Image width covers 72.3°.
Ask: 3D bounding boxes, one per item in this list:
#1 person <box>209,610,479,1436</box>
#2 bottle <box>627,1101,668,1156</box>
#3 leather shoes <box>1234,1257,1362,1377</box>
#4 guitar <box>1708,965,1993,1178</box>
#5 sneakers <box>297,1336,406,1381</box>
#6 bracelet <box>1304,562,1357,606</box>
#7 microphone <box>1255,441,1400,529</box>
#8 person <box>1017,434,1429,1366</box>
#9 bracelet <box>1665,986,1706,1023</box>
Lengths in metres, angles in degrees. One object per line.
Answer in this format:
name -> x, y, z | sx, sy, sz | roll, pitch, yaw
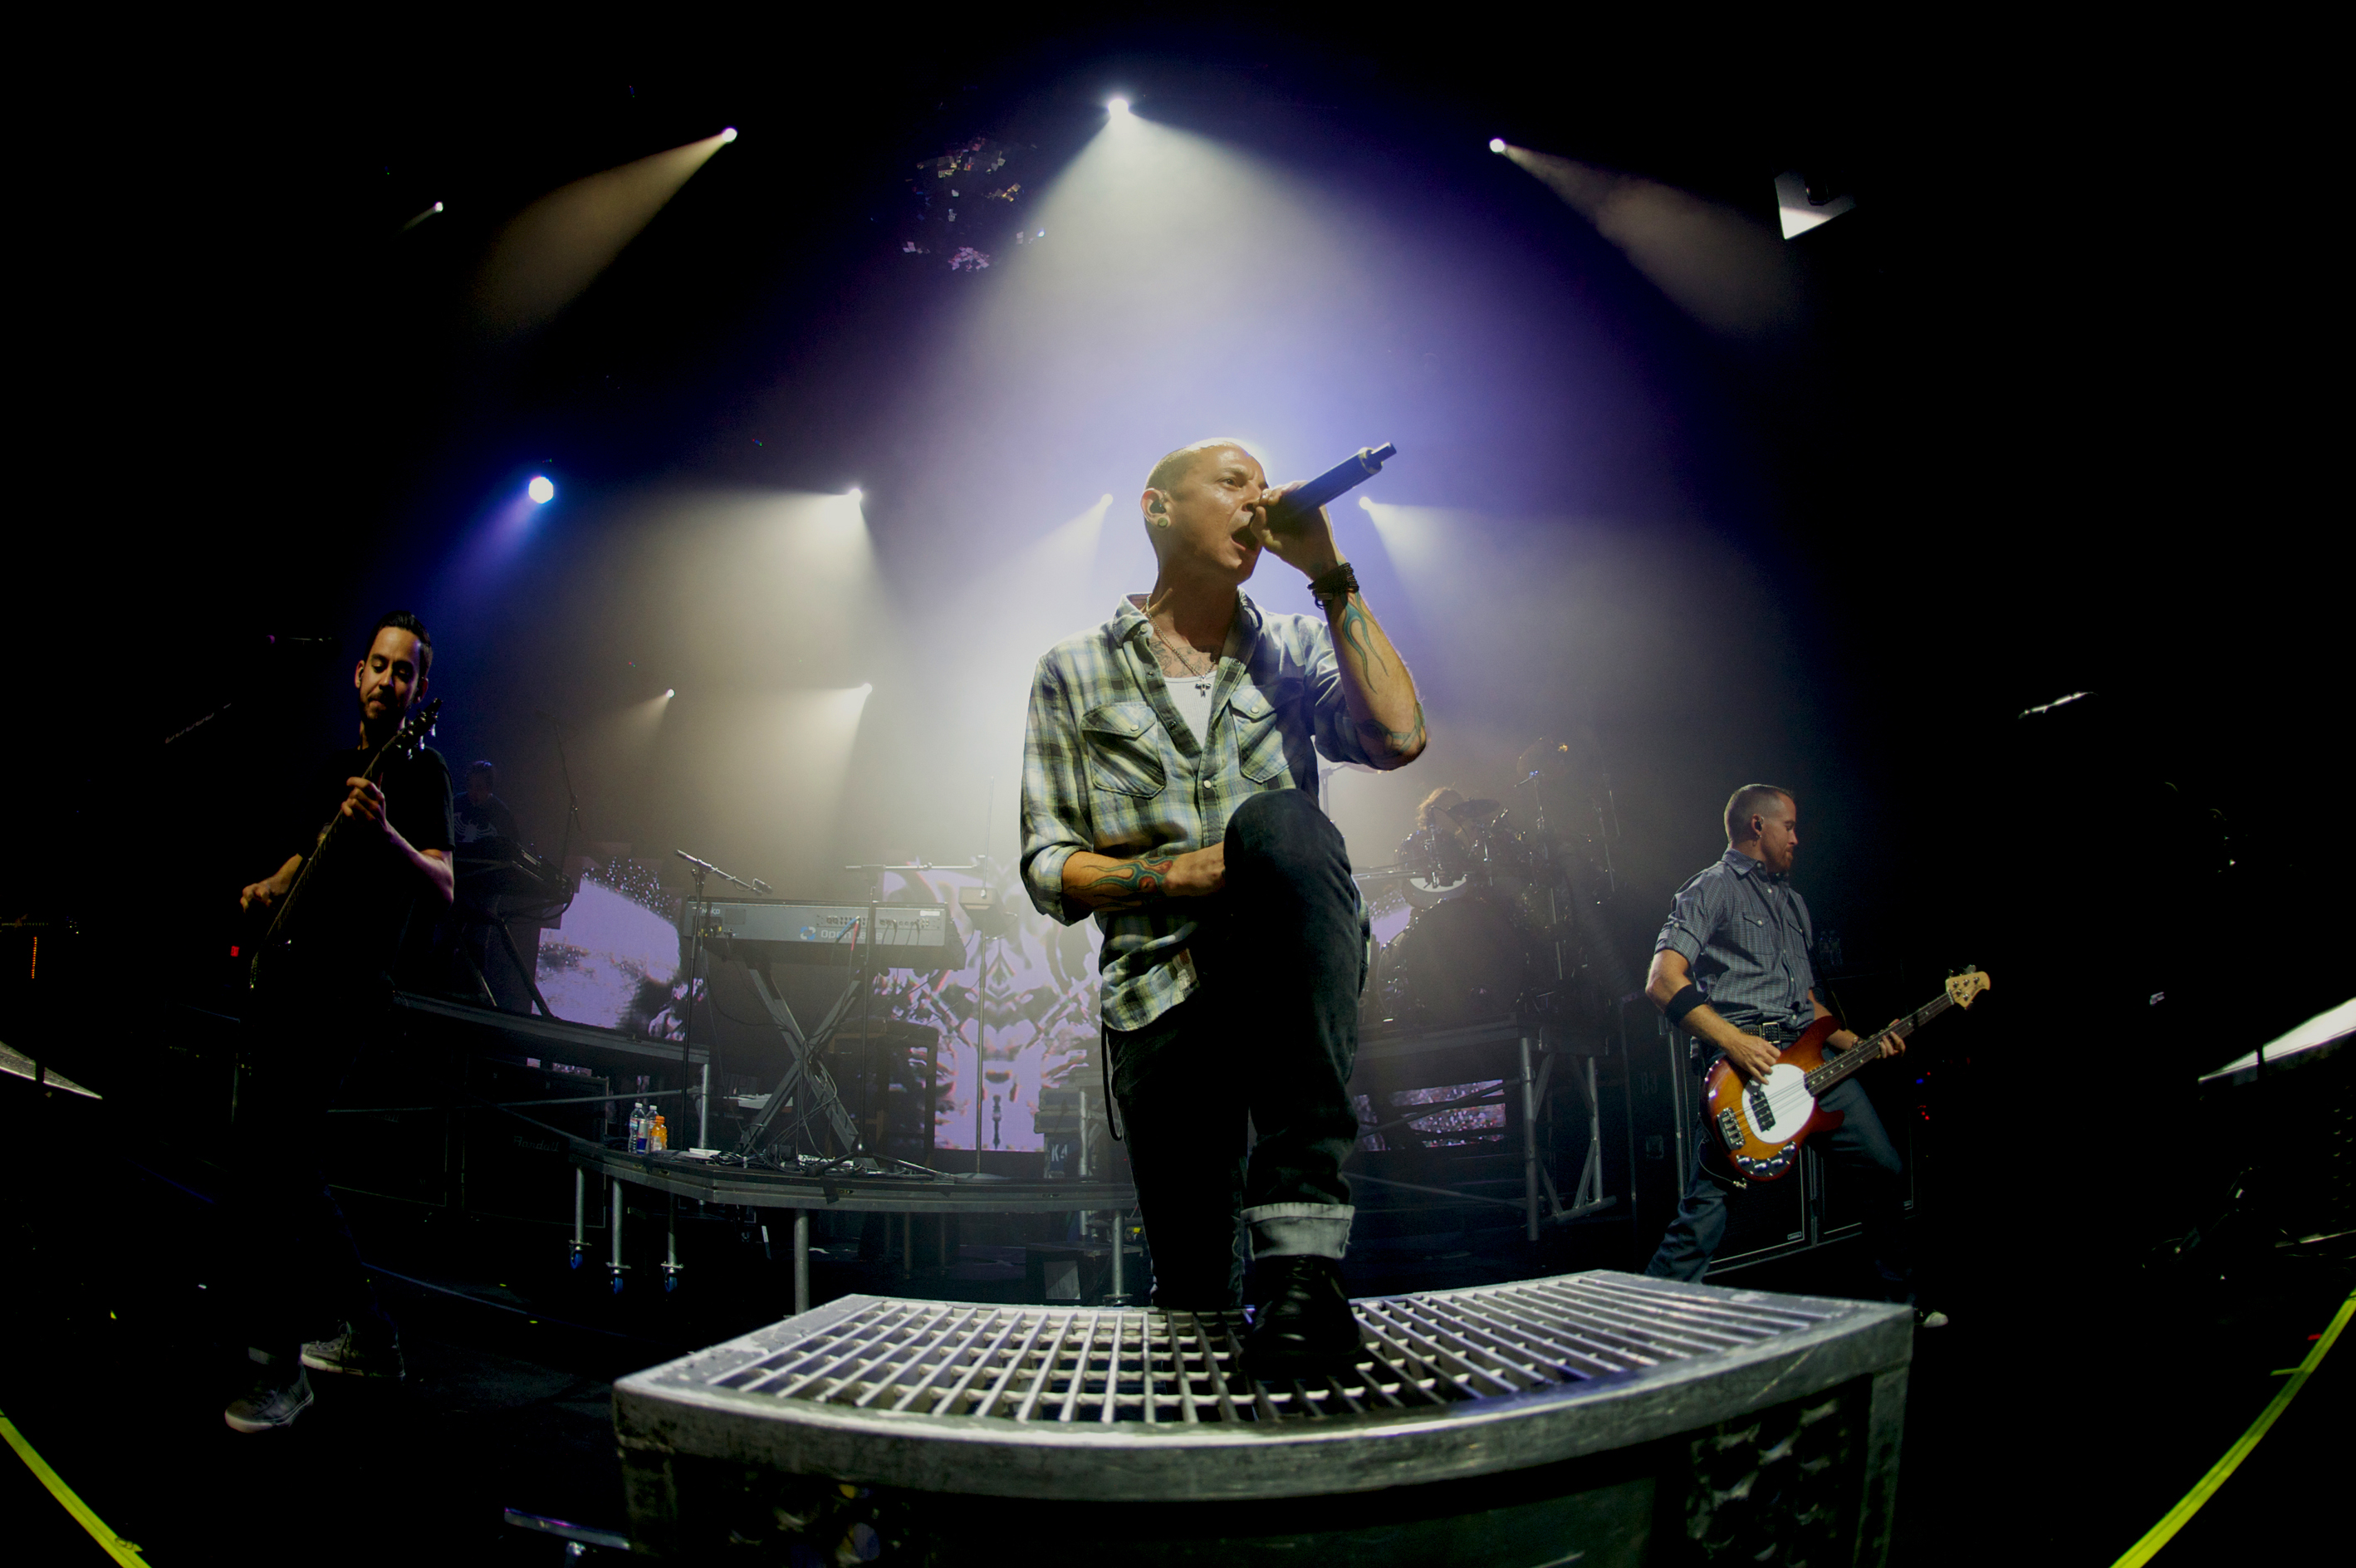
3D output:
person -> -2.757, 0.878, 5.246 | 0.632, 2.216, 0.565 | 6, -8, -30
bottle -> -2.255, 1.452, 6.865 | 0.054, 0.194, 0.241 | -1, -8, 20
leather shoes -> 0.289, 1.265, 3.810 | 0.290, 0.283, 0.212 | -7, -14, 12
guitar -> 2.564, 1.019, 6.128 | 1.376, 0.509, 0.183 | -23, 4, -14
sneakers -> -2.607, 1.817, 5.078 | 0.217, 0.088, 0.154 | 15, -12, -39
bracelet -> 0.413, -0.530, 4.288 | 0.132, 0.091, 0.122 | -19, 14, -32
microphone -> 0.430, -0.809, 4.316 | 0.299, 0.252, 0.264 | -5, -10, 42
person -> 0.106, 0.241, 4.332 | 0.983, 2.405, 0.568 | -3, -9, 33
bracelet -> 1.924, 0.831, 6.210 | 0.100, 0.132, 0.131 | 27, 12, -10
